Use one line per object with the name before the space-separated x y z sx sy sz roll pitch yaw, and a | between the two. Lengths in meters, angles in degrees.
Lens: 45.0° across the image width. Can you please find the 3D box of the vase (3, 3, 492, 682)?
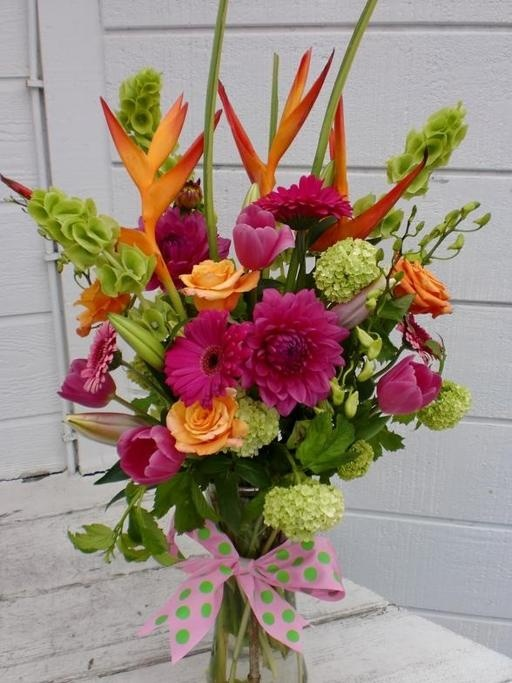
vase | -0.011 0.039 0.537 0.379 0.594 0.251 0 2 -13
